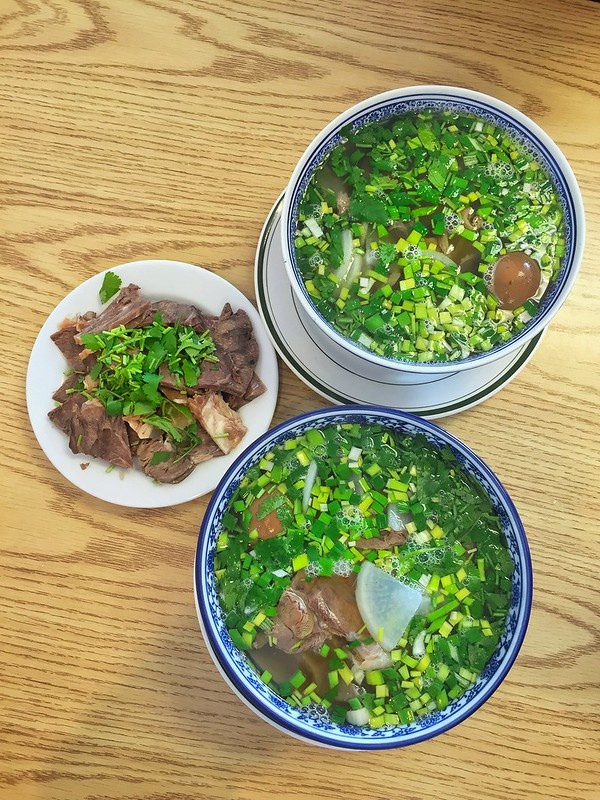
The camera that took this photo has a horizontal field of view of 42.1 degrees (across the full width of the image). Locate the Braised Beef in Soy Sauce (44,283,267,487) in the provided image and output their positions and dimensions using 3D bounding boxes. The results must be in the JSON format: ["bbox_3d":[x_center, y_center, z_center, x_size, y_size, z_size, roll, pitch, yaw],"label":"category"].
[{"bbox_3d":[-0.292,-0.022,1.603,0.557,0.100,0.387,12,94,4],"label":"Braised Beef in Soy Sauce"}]
